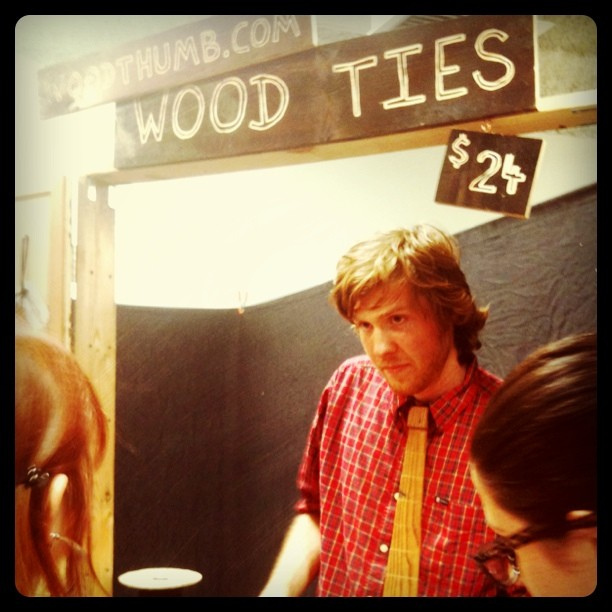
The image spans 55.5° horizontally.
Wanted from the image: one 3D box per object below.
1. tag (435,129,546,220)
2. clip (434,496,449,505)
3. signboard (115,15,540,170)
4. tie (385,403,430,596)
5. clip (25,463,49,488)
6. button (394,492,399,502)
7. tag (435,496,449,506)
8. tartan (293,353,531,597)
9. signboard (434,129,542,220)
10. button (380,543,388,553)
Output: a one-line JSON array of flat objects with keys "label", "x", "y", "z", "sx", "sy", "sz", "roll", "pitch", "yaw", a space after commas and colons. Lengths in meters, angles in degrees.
[{"label": "tag", "x": 0.596, "y": -0.432, "z": 1.865, "sx": 0.295, "sy": 0.310, "sz": 0.075, "roll": 15, "pitch": -1, "yaw": 7}, {"label": "clip", "x": 0.419, "y": 0.607, "z": 1.808, "sx": 0.038, "sy": 0.022, "sz": 0.017, "roll": 23, "pitch": -6, "yaw": 8}, {"label": "signboard", "x": 0.053, "y": -0.716, "z": 1.932, "sx": 1.391, "sy": 0.411, "sz": 0.033, "roll": -3, "pitch": 2, "yaw": 7}, {"label": "tie", "x": 0.320, "y": 0.615, "z": 1.811, "sx": 0.095, "sy": 0.731, "sz": 0.028, "roll": 3, "pitch": 22, "yaw": 6}, {"label": "clip", "x": -0.922, "y": 0.585, "z": 1.993, "sx": 0.058, "sy": 0.093, "sz": 0.030, "roll": -3, "pitch": 4, "yaw": -6}, {"label": "button", "x": 0.284, "y": 0.604, "z": 1.837, "sx": 0.019, "sy": 0.020, "sz": 0.005, "roll": -36, "pitch": -24, "yaw": 27}, {"label": "tag", "x": 0.421, "y": 0.608, "z": 1.808, "sx": 0.036, "sy": 0.021, "sz": 0.016, "roll": 28, "pitch": 2, "yaw": 10}, {"label": "tartan", "x": 0.308, "y": 0.543, "z": 1.867, "sx": 0.694, "sy": 0.782, "sz": 0.181, "roll": -2, "pitch": 2, "yaw": 19}, {"label": "signboard", "x": 0.584, "y": -0.429, "z": 1.866, "sx": 0.279, "sy": 0.315, "sz": 0.079, "roll": 2, "pitch": 9, "yaw": 14}, {"label": "button", "x": 0.244, "y": 0.764, "z": 1.828, "sx": 0.022, "sy": 0.027, "sz": 0.013, "roll": -5, "pitch": 2, "yaw": 8}]
